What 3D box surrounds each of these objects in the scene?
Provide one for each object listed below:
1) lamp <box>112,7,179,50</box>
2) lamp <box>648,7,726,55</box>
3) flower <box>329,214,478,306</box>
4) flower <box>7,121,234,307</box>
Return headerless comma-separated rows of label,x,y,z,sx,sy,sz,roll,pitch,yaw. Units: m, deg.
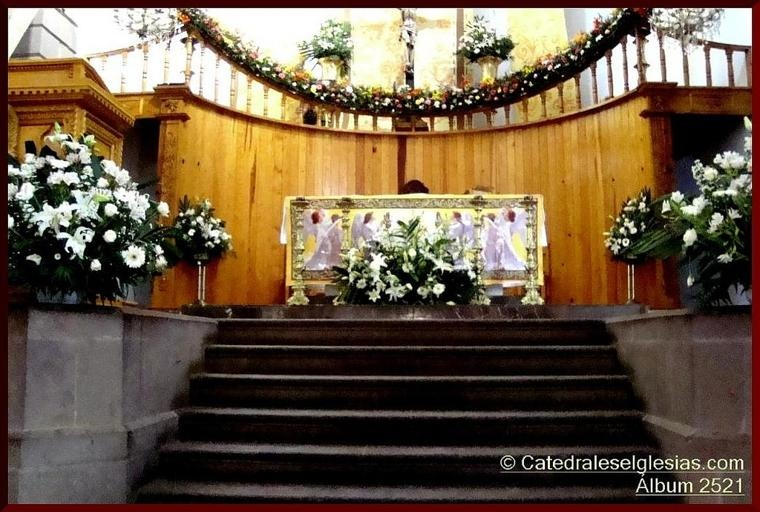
lamp,-2.474,-2.463,7.908,0.723,0.366,0.313,3,-7,-21
lamp,3.088,-2.359,7.401,0.495,0.487,0.786,0,-6,0
flower,0.166,0.034,6.572,0.915,0.391,0.930,-20,0,16
flower,-1.753,-0.245,4.511,0.959,1.091,0.493,4,-7,-27
